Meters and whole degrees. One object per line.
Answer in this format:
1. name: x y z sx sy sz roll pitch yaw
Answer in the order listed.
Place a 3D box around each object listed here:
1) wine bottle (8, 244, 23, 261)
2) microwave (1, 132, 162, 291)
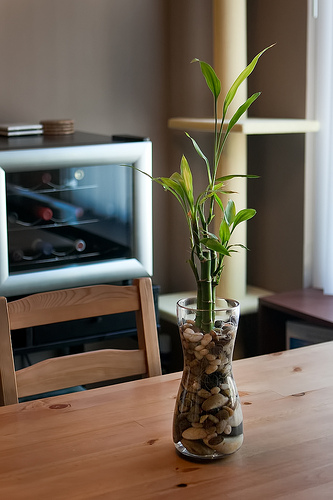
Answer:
1. wine bottle: -0.533 0.009 1.550 0.051 0.059 0.006 -2 1 -44
2. microwave: -0.350 -0.128 1.839 0.757 0.655 0.529 -3 5 -28
